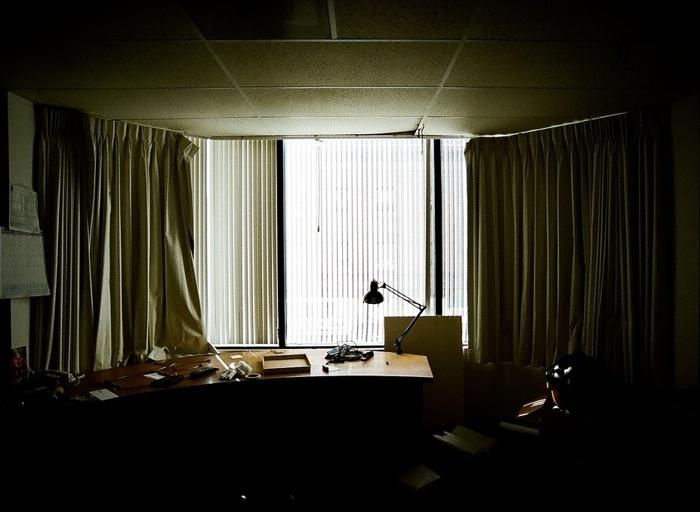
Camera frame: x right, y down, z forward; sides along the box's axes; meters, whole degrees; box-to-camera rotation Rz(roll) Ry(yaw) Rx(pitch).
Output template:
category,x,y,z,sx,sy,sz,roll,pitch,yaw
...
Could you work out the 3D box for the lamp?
category,x,y,z,sx,sy,sz,roll,pitch,yaw
lamp,0.384,0.491,5.152,0.471,0.674,0.800,2,11,6
